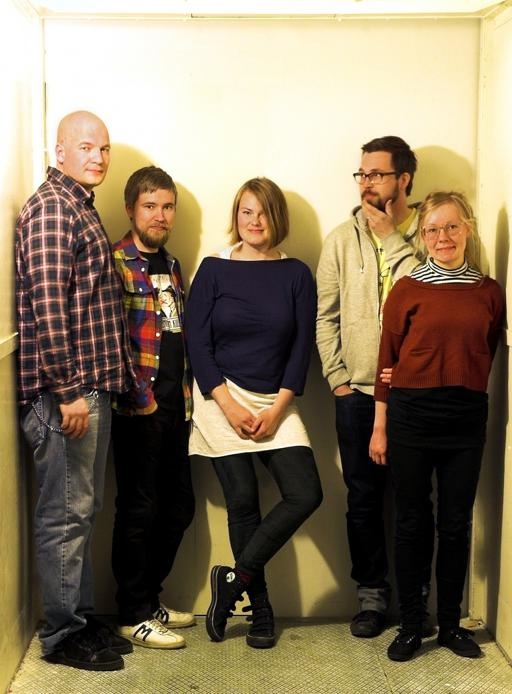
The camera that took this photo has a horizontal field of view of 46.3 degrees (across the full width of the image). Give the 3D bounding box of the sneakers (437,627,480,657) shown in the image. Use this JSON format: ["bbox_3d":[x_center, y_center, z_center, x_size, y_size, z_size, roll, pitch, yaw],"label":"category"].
[{"bbox_3d":[0.705,1.027,2.102,0.082,0.057,0.136,3,-4,-37],"label":"sneakers"}]

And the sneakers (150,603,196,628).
[{"bbox_3d":[-0.308,1.056,2.340,0.195,0.074,0.061,5,4,-10],"label":"sneakers"}]

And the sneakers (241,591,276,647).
[{"bbox_3d":[0.017,0.991,2.161,0.114,0.192,0.117,1,-3,-2],"label":"sneakers"}]

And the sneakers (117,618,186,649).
[{"bbox_3d":[-0.366,1.040,2.211,0.233,0.088,0.089,3,-5,14],"label":"sneakers"}]

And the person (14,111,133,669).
[{"bbox_3d":[-0.603,0.147,1.950,0.318,1.855,0.439,0,-3,18],"label":"person"}]

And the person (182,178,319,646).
[{"bbox_3d":[-0.012,0.227,2.145,0.488,1.713,0.278,1,-3,-1],"label":"person"}]

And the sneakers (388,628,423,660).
[{"bbox_3d":[0.510,1.025,2.035,0.059,0.067,0.160,3,0,27],"label":"sneakers"}]

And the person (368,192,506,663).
[{"bbox_3d":[0.602,0.277,2.033,0.449,1.591,0.361,0,-3,21],"label":"person"}]

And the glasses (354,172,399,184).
[{"bbox_3d":[0.453,-0.617,2.230,0.095,0.026,0.097,1,3,37],"label":"glasses"}]

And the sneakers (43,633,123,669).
[{"bbox_3d":[-0.550,1.023,2.040,0.300,0.114,0.105,4,-3,5],"label":"sneakers"}]
